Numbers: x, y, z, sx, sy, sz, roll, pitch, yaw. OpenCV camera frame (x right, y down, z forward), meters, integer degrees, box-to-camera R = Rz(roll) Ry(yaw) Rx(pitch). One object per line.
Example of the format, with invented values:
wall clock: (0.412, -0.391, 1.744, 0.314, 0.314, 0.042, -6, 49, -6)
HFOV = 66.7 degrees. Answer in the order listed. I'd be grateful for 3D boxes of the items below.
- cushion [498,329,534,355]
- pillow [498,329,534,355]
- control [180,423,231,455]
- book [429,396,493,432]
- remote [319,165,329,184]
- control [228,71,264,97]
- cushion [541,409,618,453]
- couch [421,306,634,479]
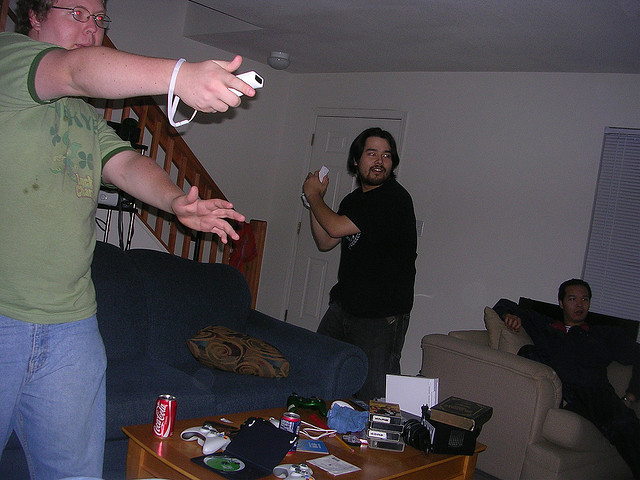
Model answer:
cushion: (1.232, 0.633, 3.052, 0.160, 0.065, 0.151, 12, 20, -6)
pillow: (1.268, 0.644, 3.090, 0.249, 0.132, 0.134, 7, 5, -18)
control: (-0.379, 0.681, 1.681, 0.164, 0.039, 0.129, 12, 6, 35)
book: (0.580, 0.698, 1.990, 0.156, 0.048, 0.160, 10, 12, 31)
remote: (0.020, -0.434, 3.190, 0.025, 0.106, 0.056, -1, 37, -43)
control: (-0.152, -0.319, 1.015, 0.059, 0.061, 0.014, -1, 29, 22)
cushion: (1.380, 1.031, 2.608, 0.267, 0.107, 0.293, 14, -30, 16)
couch: (1.162, 1.016, 2.837, 1.178, 0.805, 0.571, 10, 5, 9)
